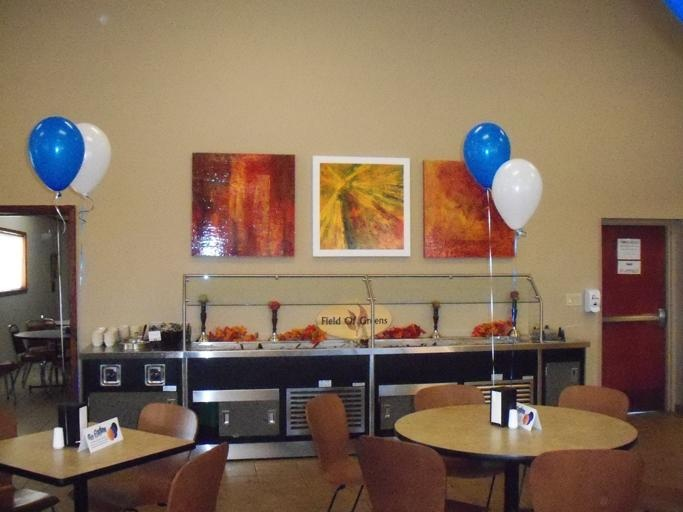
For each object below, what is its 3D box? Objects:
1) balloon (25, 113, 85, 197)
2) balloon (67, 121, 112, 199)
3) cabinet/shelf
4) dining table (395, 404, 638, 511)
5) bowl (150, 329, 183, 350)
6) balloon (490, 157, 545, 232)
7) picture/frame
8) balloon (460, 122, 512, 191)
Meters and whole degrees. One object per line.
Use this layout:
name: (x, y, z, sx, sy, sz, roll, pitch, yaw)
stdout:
balloon: (-2.187, -0.747, 4.850, 0.411, 0.696, 0.419, 8, 12, 31)
balloon: (-1.995, -0.807, 5.291, 0.479, 0.672, 0.499, 3, 6, -13)
cabinet/shelf: (0.186, 1.397, 6.379, 4.822, 1.110, 0.748, -1, 1, -7)
dining table: (1.138, 1.163, 4.293, 0.941, 0.660, 0.991, 0, 4, 7)
bowl: (-1.649, 0.801, 5.978, 0.224, 0.150, 0.209, -1, -5, 0)
balloon: (1.380, -0.488, 5.021, 0.462, 0.682, 0.488, -2, 9, 2)
picture/frame: (0.159, -0.513, 6.627, 0.971, 1.077, 0.038, 0, -2, -5)
balloon: (1.245, -0.828, 5.445, 0.380, 0.665, 0.402, -2, 6, 2)
